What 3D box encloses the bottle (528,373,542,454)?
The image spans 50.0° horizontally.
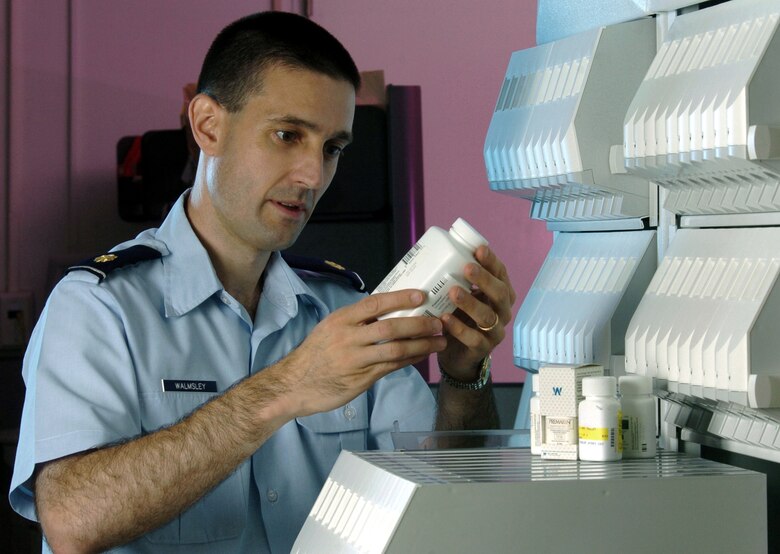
[{"bbox_3d":[0.273,0.256,1.572,0.018,0.155,0.058,2,4,-6],"label":"bottle"}]

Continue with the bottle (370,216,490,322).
[{"bbox_3d":[0.073,-0.016,1.830,0.129,0.230,0.125,41,6,-5],"label":"bottle"}]

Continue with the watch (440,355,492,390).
[{"bbox_3d":[0.185,0.245,1.985,0.082,0.036,0.092,14,-26,2],"label":"watch"}]

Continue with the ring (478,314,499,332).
[{"bbox_3d":[0.208,0.099,1.743,0.038,0.045,0.009,4,3,-35],"label":"ring"}]

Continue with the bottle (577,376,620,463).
[{"bbox_3d":[0.381,0.256,1.511,0.085,0.154,0.046,3,4,5],"label":"bottle"}]
